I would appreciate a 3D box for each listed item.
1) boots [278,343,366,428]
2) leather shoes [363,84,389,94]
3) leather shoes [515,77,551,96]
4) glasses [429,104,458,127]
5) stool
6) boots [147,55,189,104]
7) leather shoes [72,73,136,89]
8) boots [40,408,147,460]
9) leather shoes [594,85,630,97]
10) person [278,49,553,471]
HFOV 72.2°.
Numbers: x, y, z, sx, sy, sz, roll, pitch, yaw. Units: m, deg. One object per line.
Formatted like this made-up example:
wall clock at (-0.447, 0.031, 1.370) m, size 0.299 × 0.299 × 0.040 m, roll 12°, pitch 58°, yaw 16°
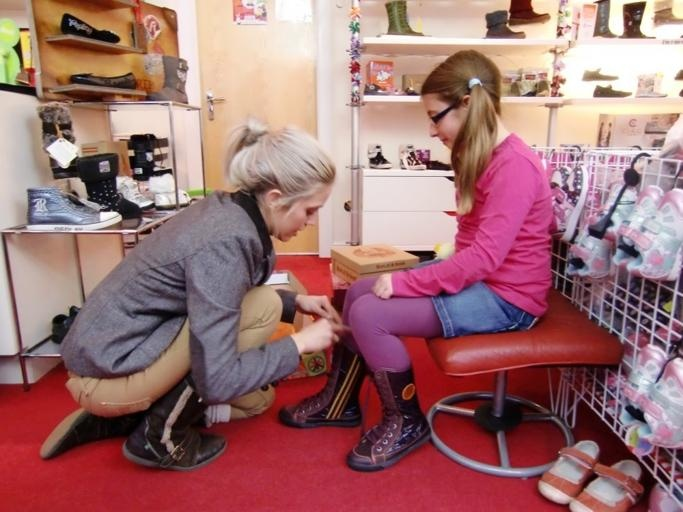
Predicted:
boots at (-0.076, 0.511, 1.846) m, size 0.331 × 0.323 × 0.153 m, roll 2°, pitch 9°, yaw 2°
leather shoes at (0.255, -1.238, 3.484) m, size 0.189 × 0.078 × 0.066 m, roll -2°, pitch 18°, yaw -4°
leather shoes at (1.430, -1.240, 3.453) m, size 0.130 × 0.080 × 0.205 m, roll -1°, pitch 10°, yaw -2°
glasses at (0.352, -0.476, 1.591) m, size 0.057 × 0.016 × 0.055 m, roll -35°, pitch 9°, yaw 4°
stool at (0.589, 0.443, 1.710) m, size 0.593 × 0.508 × 0.475 m, roll -4°, pitch 20°, yaw -3°
boots at (-1.086, -1.073, 2.912) m, size 0.163 × 0.304 × 0.319 m, roll 6°, pitch 18°, yaw 14°
leather shoes at (-1.249, -0.885, 2.383) m, size 0.211 × 0.082 × 0.392 m, roll 1°, pitch 19°, yaw 10°
boots at (-0.969, 0.650, 1.750) m, size 0.136 × 0.143 × 0.438 m, roll -7°, pitch -18°, yaw 8°
leather shoes at (2.076, -1.259, 3.592) m, size 0.256 × 0.094 × 0.191 m, roll 4°, pitch 20°, yaw 17°
person at (0.052, -0.045, 2.502) m, size 1.454 × 2.042 × 0.943 m, roll 1°, pitch 6°, yaw -2°
